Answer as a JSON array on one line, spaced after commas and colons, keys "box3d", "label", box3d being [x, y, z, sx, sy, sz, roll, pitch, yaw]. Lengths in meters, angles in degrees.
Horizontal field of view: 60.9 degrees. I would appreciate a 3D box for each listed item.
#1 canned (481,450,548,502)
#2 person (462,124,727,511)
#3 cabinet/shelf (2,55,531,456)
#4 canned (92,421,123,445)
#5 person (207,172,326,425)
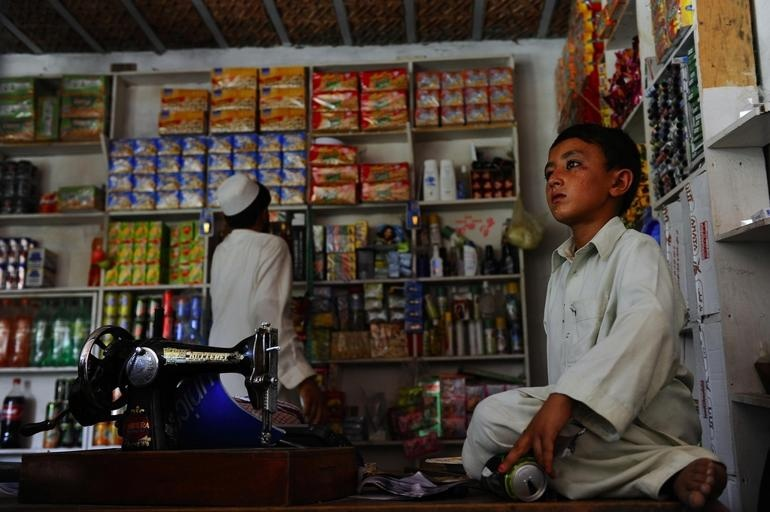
[{"box3d": [0.428, 0.727, 2.188, 0.156, 0.111, 0.209, -17, 3, -21], "label": "canned"}, {"box3d": [0.730, 0.127, 2.465, 0.857, 1.433, 0.627, -1, -7, 6], "label": "person"}, {"box3d": [-0.707, -0.001, 4.479, 2.961, 2.854, 0.868, -1, -10, 2], "label": "cabinet/shelf"}, {"box3d": [-1.995, 1.290, 4.774, 0.251, 0.178, 0.160, -6, -9, 40], "label": "canned"}, {"box3d": [-0.651, 0.184, 3.439, 0.447, 1.322, 0.673, 4, -8, -33], "label": "person"}]
